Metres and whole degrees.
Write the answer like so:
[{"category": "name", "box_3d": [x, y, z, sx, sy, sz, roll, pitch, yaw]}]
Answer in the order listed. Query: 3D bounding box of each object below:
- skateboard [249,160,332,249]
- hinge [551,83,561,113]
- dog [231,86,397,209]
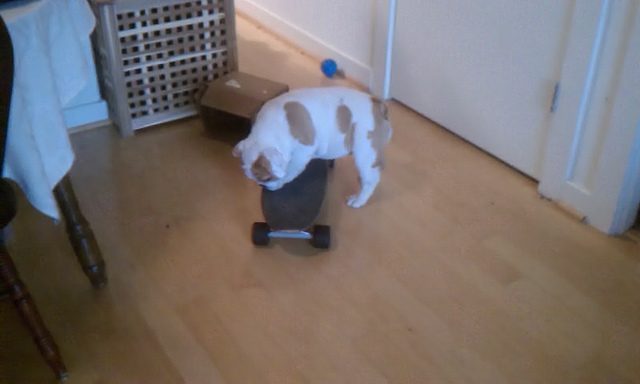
[{"category": "skateboard", "box_3d": [-0.134, 0.132, 2.873, 0.419, 0.237, 0.759, 2, 8, 1]}, {"category": "hinge", "box_3d": [1.313, -0.550, 2.810, 0.017, 0.126, 0.033, 2, 20, -18]}, {"category": "dog", "box_3d": [-0.054, -0.316, 2.759, 0.775, 0.535, 0.514, -1, 47, -11]}]
